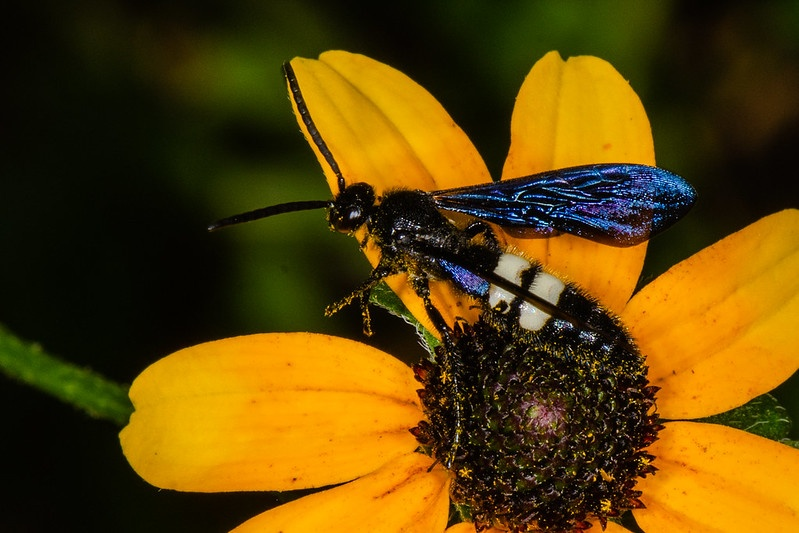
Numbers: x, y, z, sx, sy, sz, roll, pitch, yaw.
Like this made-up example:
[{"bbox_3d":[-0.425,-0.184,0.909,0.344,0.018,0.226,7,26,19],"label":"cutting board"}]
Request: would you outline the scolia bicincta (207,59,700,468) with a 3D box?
[{"bbox_3d":[0.096,0.067,3.533,1.680,0.935,1.159,18,38,11],"label":"scolia bicincta"}]
